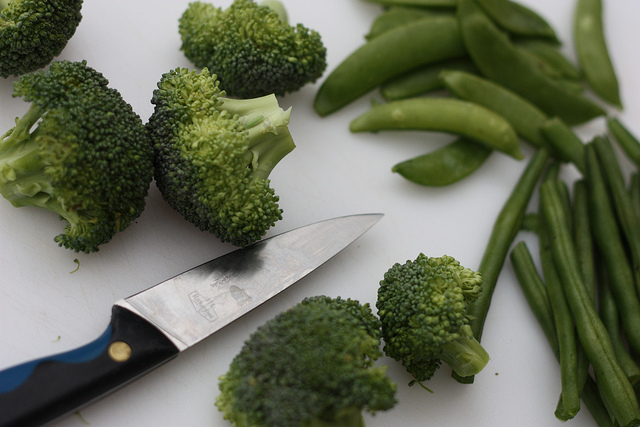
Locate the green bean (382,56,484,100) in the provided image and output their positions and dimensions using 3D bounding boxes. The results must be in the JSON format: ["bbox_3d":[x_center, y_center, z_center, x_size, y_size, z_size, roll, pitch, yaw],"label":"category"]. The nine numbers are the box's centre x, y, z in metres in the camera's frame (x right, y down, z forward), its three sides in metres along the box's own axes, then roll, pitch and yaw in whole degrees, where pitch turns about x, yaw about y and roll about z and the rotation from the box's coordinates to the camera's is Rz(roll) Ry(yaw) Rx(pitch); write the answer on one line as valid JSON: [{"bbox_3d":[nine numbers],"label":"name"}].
[{"bbox_3d":[0.477,-0.634,2.787,0.400,0.208,0.169,-11,10,-25],"label":"green bean"}]

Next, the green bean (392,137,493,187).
[{"bbox_3d":[0.561,-0.222,2.804,0.130,0.444,0.232,27,48,-77],"label":"green bean"}]

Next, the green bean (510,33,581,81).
[{"bbox_3d":[1.034,-0.740,2.785,0.287,0.164,0.233,-117,-172,-66],"label":"green bean"}]

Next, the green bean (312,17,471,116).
[{"bbox_3d":[0.331,-0.704,2.735,0.342,0.780,0.094,59,17,-8],"label":"green bean"}]

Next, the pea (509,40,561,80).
[{"bbox_3d":[0.911,-0.788,2.743,0.059,0.362,0.035,65,22,-72],"label":"pea"}]

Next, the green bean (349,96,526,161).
[{"bbox_3d":[0.434,-0.417,2.838,1.015,0.344,0.277,7,22,9],"label":"green bean"}]

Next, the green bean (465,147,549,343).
[{"bbox_3d":[0.835,0.170,2.677,0.134,0.897,0.092,24,-9,12],"label":"green bean"}]

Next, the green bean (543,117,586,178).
[{"bbox_3d":[1.107,-0.317,2.738,0.143,0.170,0.312,12,75,-47],"label":"green bean"}]

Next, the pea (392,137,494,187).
[{"bbox_3d":[0.541,-0.212,2.768,0.451,0.204,0.119,-15,17,-34],"label":"pea"}]

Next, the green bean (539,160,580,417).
[{"bbox_3d":[0.992,0.361,2.567,0.096,0.107,0.854,-5,66,-14],"label":"green bean"}]
